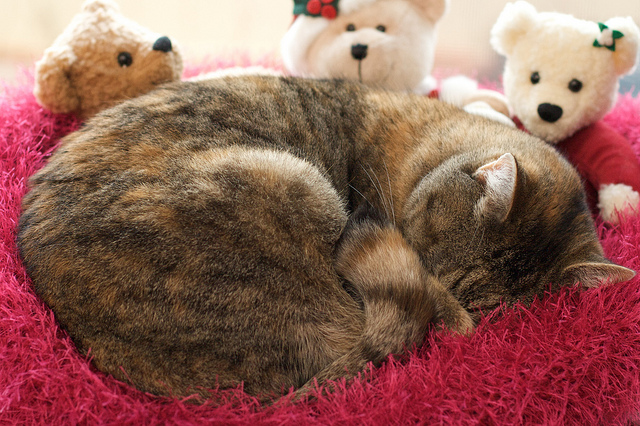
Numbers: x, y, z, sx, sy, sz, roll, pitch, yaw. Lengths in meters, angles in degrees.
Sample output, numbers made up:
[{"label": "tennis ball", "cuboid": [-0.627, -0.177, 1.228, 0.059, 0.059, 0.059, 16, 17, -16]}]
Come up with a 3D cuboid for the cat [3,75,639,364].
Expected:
[{"label": "cat", "cuboid": [-0.051, 0.170, 2.000, 1.536, 0.467, 0.935, 6, 42, 3]}]

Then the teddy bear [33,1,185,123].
[{"label": "teddy bear", "cuboid": [-0.727, -0.497, 2.270, 0.443, 0.345, 0.481, -6, 39, 21]}]

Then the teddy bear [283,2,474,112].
[{"label": "teddy bear", "cuboid": [0.256, -0.699, 2.501, 0.699, 0.408, 0.676, 4, 41, 6]}]
